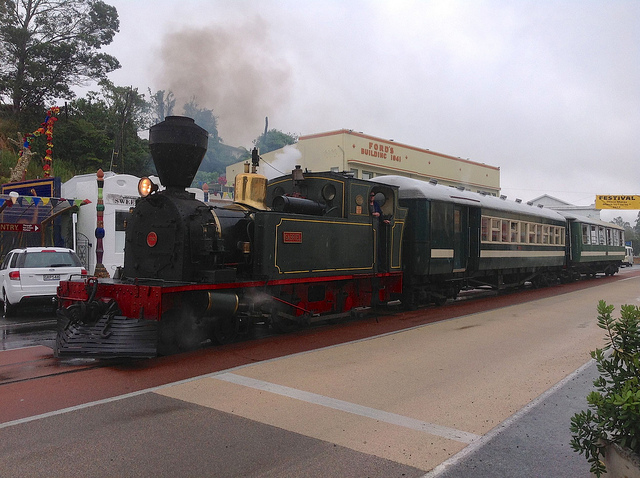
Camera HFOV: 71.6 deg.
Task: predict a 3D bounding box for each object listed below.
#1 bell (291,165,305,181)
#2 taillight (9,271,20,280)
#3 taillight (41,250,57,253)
[{"bbox_3d":[-0.507,-1.586,10.650,0.234,0.346,0.276,1,2,3],"label":"bell"},{"bbox_3d":[-8.254,0.991,11.917,0.249,0.235,0.193,-5,-6,33],"label":"taillight"},{"bbox_3d":[-7.707,0.345,12.531,0.363,0.074,0.049,0,2,-33],"label":"taillight"}]
